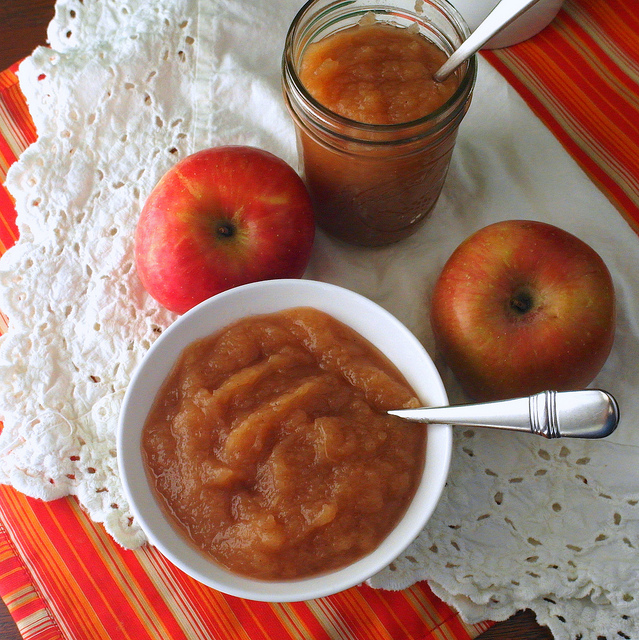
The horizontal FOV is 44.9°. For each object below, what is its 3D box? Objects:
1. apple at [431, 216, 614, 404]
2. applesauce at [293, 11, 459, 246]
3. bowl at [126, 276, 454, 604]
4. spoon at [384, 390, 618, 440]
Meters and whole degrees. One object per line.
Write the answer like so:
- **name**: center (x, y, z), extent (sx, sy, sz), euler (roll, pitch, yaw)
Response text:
- **apple**: center (0.432, -0.018, 1.683), extent (0.356, 0.263, 0.385), euler (-17, 77, -5)
- **applesauce**: center (0.118, -0.436, 1.788), extent (0.346, 0.420, 0.418), euler (-4, 76, -2)
- **bowl**: center (-0.071, 0.215, 1.559), extent (0.638, 0.140, 0.618), euler (0, 76, -1)
- **spoon**: center (0.345, 0.173, 1.506), extent (0.041, 0.502, 0.099), euler (9, 78, -40)
